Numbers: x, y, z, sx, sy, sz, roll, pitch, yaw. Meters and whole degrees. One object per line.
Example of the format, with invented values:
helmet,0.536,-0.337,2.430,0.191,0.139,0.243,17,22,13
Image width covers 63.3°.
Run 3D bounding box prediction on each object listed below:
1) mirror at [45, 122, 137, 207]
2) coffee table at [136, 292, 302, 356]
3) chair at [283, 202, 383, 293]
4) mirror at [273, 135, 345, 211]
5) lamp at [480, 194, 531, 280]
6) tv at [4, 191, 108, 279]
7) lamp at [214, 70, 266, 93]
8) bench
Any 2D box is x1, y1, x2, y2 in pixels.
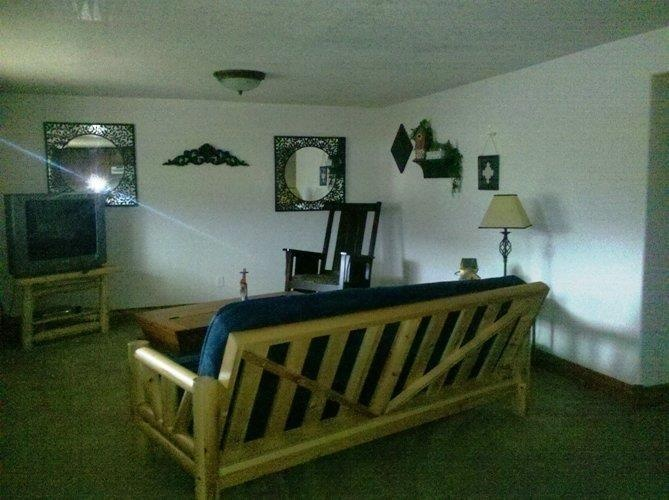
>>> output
mirror,-2.486,-0.888,5.489,0.972,0.936,0.050,-1,8,-11
coffee table,-0.949,0.564,4.192,0.604,0.173,0.944,10,11,42
chair,-0.003,0.092,5.570,0.980,1.194,0.990,2,2,-18
mirror,-0.328,-0.913,6.284,0.952,0.917,0.059,-1,3,-23
lamp,1.390,-0.100,4.445,0.395,0.742,0.528,4,15,17
tv,-2.501,-0.130,4.881,0.405,0.713,0.794,0,4,42
lamp,-0.807,-1.440,4.565,0.228,0.080,0.227,2,5,15
bench,0.090,0.656,3.070,2.169,0.860,0.602,-6,15,-22
